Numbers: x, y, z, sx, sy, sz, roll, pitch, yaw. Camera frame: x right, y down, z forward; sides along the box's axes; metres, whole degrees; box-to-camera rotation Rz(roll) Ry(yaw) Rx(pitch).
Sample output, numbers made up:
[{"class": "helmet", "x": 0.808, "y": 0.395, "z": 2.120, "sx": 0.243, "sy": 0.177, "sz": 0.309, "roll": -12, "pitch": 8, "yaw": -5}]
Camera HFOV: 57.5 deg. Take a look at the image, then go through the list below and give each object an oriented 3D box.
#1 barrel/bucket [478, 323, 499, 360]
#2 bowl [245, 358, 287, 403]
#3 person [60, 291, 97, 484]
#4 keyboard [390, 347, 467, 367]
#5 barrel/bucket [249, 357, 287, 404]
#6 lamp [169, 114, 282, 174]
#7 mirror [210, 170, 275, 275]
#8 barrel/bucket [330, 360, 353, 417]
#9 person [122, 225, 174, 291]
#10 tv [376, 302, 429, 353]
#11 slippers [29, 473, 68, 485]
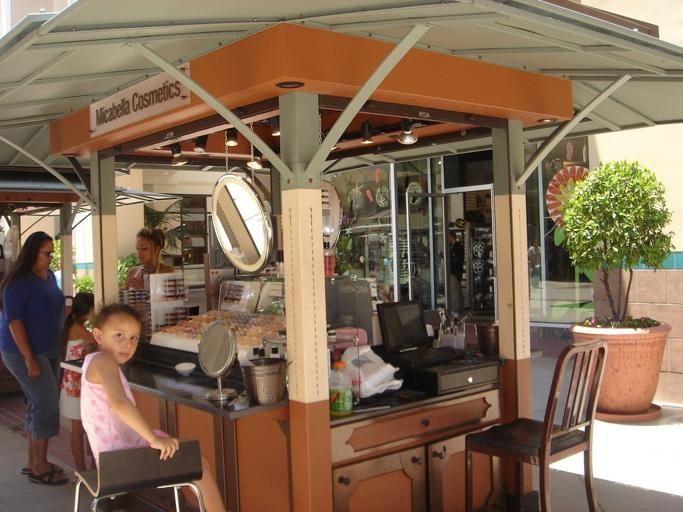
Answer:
[{"class": "barrel/bucket", "x": 1.170, "y": 0.673, "z": 4.944, "sx": 0.201, "sy": 0.234, "sz": 0.213, "roll": -1, "pitch": -6, "yaw": 0}, {"class": "bowl", "x": -0.464, "y": 0.761, "z": 3.892, "sx": 0.315, "sy": 0.254, "sz": 0.290, "roll": -3, "pitch": 5, "yaw": 0}, {"class": "person", "x": -2.176, "y": 1.080, "z": 5.128, "sx": 0.287, "sy": 1.711, "sz": 0.518, "roll": -2, "pitch": 8, "yaw": -28}, {"class": "keyboard", "x": 0.629, "y": 0.748, "z": 4.611, "sx": 0.600, "sy": 0.103, "sz": 0.268, "roll": -1, "pitch": 2, "yaw": -45}, {"class": "barrel/bucket", "x": -0.451, "y": 0.770, "z": 3.807, "sx": 0.262, "sy": 0.263, "sz": 0.117, "roll": 0, "pitch": 1, "yaw": -19}, {"class": "lamp", "x": -1.192, "y": -1.164, "z": 6.213, "sx": 1.119, "sy": 0.483, "sz": 0.238, "roll": -18, "pitch": -37, "yaw": -15}, {"class": "mirror", "x": -0.739, "y": -0.244, "z": 4.560, "sx": 0.229, "sy": 0.727, "sz": 0.784, "roll": 0, "pitch": 1, "yaw": -34}, {"class": "barrel/bucket", "x": 0.000, "y": 0.847, "z": 3.986, "sx": 0.174, "sy": 0.338, "sz": 0.079, "roll": 0, "pitch": 1, "yaw": -20}, {"class": "person", "x": -1.918, "y": 0.015, "z": 6.198, "sx": 0.449, "sy": 0.592, "sz": 1.081, "roll": 0, "pitch": 1, "yaw": -20}, {"class": "tv", "x": 0.460, "y": 0.531, "z": 4.673, "sx": 0.428, "sy": 0.338, "sz": 0.114, "roll": 0, "pitch": 1, "yaw": -41}, {"class": "slippers", "x": -2.671, "y": 2.032, "z": 5.663, "sx": 0.261, "sy": 0.098, "sz": 0.142, "roll": 2, "pitch": 4, "yaw": -5}]
